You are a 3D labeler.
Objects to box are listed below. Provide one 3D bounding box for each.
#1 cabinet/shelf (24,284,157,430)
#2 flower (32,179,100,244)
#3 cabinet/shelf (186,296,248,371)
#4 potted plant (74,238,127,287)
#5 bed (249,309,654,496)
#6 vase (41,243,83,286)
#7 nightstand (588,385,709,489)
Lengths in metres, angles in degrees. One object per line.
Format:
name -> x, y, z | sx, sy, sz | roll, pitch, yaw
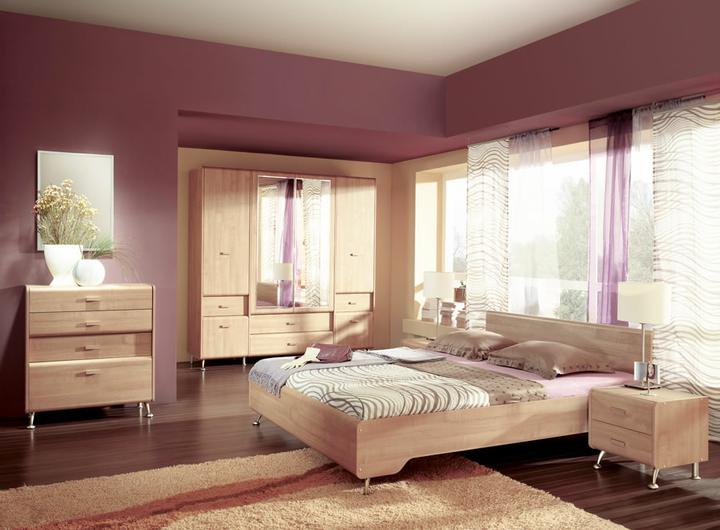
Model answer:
cabinet/shelf -> -2.387, 0.791, 4.650 | 1.339, 1.346, 0.570 | -1, 3, -22
flower -> -2.665, -0.453, 4.974 | 0.596, 0.693, 0.669 | 4, -6, -36
cabinet/shelf -> -1.793, 0.848, 6.803 | 0.862, 1.102, 0.839 | 2, -4, -30
potted plant -> -2.406, -0.008, 4.926 | 0.415, 0.398, 0.409 | 7, -10, -33
bed -> 0.732, 1.053, 3.957 | 1.861, 0.598, 1.689 | -3, 5, -30
vase -> -2.622, 0.013, 4.856 | 0.403, 0.386, 0.354 | 0, 0, -13
nightstand -> 2.093, 1.253, 3.895 | 0.533, 0.495, 0.668 | 4, -8, -20
